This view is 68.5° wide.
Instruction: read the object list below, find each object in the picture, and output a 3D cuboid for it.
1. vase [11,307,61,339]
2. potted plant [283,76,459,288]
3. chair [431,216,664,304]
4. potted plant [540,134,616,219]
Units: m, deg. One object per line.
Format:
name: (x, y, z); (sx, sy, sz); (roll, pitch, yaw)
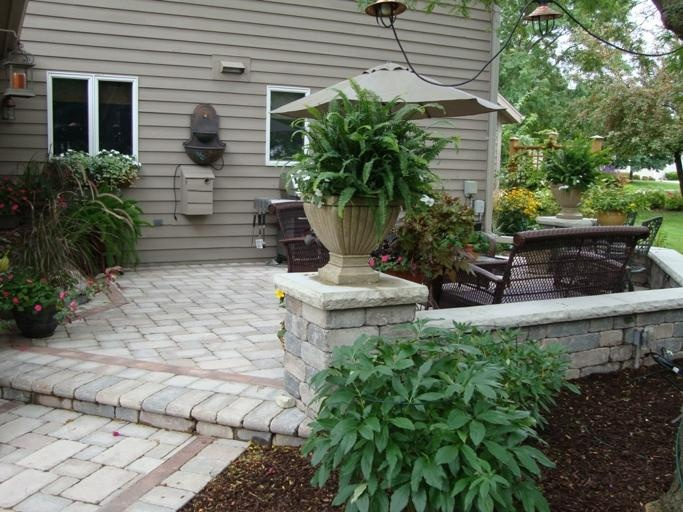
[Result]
vase: (-2.427, 0.518, 4.046); (0.350, 0.218, 0.329); (-1, 7, -17)
potted plant: (-0.154, -0.496, 3.118); (1.312, 1.181, 1.064); (-1, 16, -13)
chair: (1.524, 0.105, 3.946); (1.422, 0.743, 0.817); (-3, 12, -20)
potted plant: (3.803, -1.234, 8.243); (1.438, 1.411, 1.355); (4, 7, 21)
